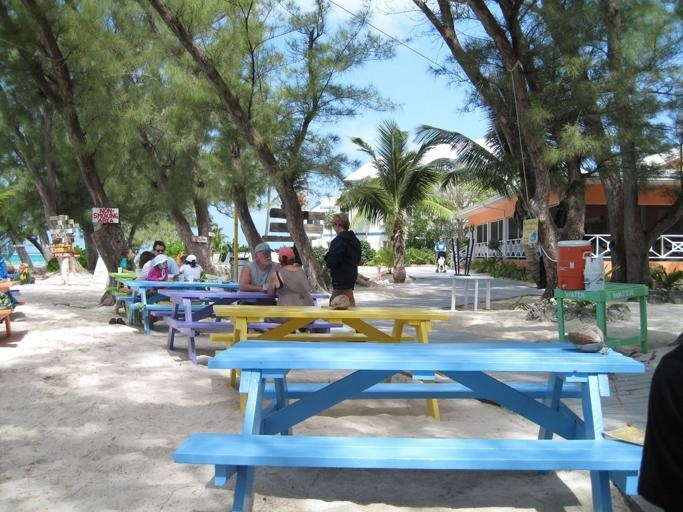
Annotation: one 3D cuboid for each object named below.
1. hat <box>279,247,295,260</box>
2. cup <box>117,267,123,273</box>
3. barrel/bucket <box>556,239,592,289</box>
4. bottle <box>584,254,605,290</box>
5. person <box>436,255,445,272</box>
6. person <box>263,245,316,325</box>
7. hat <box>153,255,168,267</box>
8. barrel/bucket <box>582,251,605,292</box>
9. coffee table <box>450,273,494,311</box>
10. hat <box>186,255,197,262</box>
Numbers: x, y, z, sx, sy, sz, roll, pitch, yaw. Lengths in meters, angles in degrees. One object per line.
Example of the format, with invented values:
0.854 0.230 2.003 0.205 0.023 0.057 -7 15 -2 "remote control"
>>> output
-0.684 -0.044 6.539 0.231 0.120 0.332 1 13 -1 "hat"
-4.967 0.281 11.854 0.135 0.161 0.113 -1 -5 -37 "cup"
3.144 0.127 7.190 0.389 0.622 0.425 1 -1 0 "barrel/bucket"
3.313 0.185 6.929 0.215 0.468 0.349 -3 2 40 "bottle"
6.180 0.395 32.773 0.410 0.697 0.746 -4 1 9 "person"
-0.657 0.376 6.635 0.539 0.942 0.564 -9 -3 -15 "person"
-3.297 0.053 9.627 0.311 0.204 0.213 -5 1 -39 "hat"
3.310 0.219 6.936 0.314 0.444 0.267 -2 0 22 "barrel/bucket"
3.698 1.026 15.086 0.858 0.630 0.845 -1 3 -28 "coffee table"
-3.039 0.022 10.685 0.188 0.157 0.140 13 11 30 "hat"
